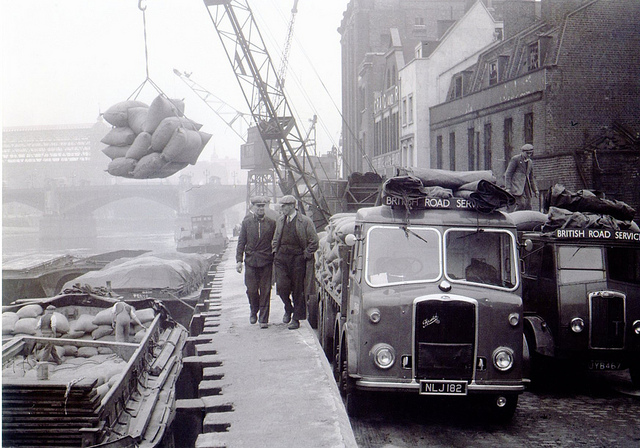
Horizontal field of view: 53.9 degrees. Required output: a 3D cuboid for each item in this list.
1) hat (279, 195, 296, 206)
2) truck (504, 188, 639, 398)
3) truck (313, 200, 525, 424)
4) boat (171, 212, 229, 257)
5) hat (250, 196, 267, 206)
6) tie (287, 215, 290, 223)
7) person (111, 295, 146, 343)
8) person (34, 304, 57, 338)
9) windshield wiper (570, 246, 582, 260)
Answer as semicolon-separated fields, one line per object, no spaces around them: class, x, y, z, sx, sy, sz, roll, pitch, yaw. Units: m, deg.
hat;-0.664;-0.522;13.411;0.348;0.221;0.362;-3;0;-5
truck;4.908;1.291;11.988;2.084;3.564;1.552;-3;0;8
truck;1.946;1.133;12.195;2.865;3.400;5.723;1;8;3
boat;-13.421;0.855;71.129;5.399;4.974;12.174;-1;-1;0
hat;-1.215;-0.496;13.057;0.293;0.161;0.351;-3;0;-9
tie;-0.639;-0.137;13.487;0.043;0.156;0.042;-3;0;-12
person;-4.417;2.208;14.381;0.697;1.060;0.951;-3;0;11
person;-6.129;2.247;14.259;0.477;0.732;1.076;-3;0;-24
windshield wiper;4.707;0.527;11.603;0.048;0.295;0.012;32;10;17
